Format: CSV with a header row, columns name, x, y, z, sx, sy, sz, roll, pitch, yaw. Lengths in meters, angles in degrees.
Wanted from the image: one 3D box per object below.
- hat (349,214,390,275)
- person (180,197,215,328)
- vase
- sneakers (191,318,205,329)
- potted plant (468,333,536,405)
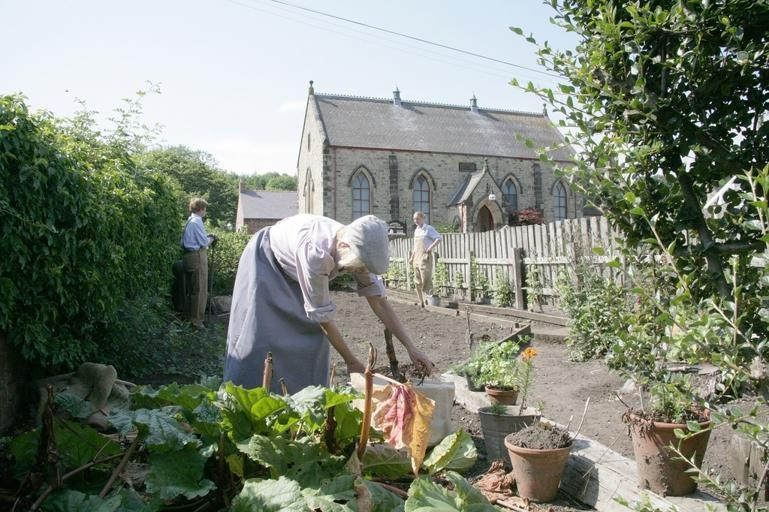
name,x,y,z,sx,sy,sz,roll,pitch,yaw
hat,-0.111,-0.076,3.844,0.276,0.408,0.231,-1,-2,-12
person,-3.581,0.140,11.039,0.521,2.488,0.875,-1,-2,-18
vase,1.200,1.594,4.671,0.635,0.456,0.593,7,-11,-44
sneakers,-3.586,1.327,11.046,0.147,0.118,0.376,-2,6,-7
potted plant,1.262,1.327,6.041,0.574,0.529,0.579,0,-4,-31
